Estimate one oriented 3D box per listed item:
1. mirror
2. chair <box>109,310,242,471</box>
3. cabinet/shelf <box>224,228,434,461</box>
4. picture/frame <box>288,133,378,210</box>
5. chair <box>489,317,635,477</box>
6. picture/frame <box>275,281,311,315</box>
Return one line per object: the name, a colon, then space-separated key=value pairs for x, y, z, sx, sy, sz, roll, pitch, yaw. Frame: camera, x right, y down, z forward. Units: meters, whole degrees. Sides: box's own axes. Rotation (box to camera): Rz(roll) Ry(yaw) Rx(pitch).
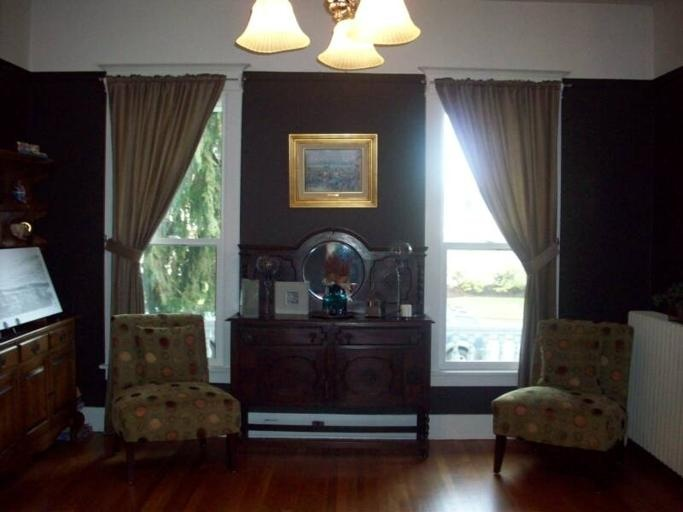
mirror: x=-0.061 y=0.112 z=5.052 sx=0.450 sy=0.525 sz=0.020 roll=0 pitch=3 yaw=4
chair: x=-1.339 y=1.041 z=4.635 sx=0.885 sy=1.282 sz=0.980 roll=3 pitch=-11 yaw=-26
cabinet/shelf: x=-0.093 y=0.779 z=4.832 sx=1.610 sy=2.010 sz=0.665 roll=0 pitch=-1 yaw=0
picture/frame: x=-0.072 y=-0.770 z=5.079 sx=0.555 sy=0.540 sz=0.049 roll=0 pitch=0 yaw=-1
chair: x=1.763 y=1.083 z=4.607 sx=0.908 sy=1.243 sz=0.882 roll=9 pitch=-8 yaw=-40
picture/frame: x=-0.414 y=0.341 z=4.919 sx=0.274 sy=0.298 sz=0.028 roll=1 pitch=23 yaw=-4
